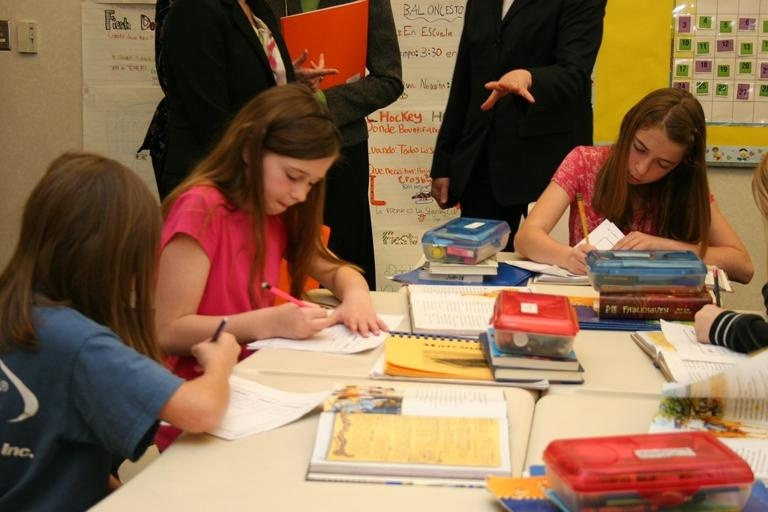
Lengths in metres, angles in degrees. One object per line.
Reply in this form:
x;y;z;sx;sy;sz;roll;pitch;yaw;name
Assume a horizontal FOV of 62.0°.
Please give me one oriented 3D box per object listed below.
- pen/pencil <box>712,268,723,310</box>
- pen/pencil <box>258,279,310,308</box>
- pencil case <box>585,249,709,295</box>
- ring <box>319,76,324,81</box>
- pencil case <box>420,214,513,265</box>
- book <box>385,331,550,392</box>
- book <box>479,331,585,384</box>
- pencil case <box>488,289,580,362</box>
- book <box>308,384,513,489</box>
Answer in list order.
0.925;0.089;1.773;0.015;0.016;0.147;-33;27;44;pen/pencil
-0.281;0.106;1.799;0.021;0.017;0.148;42;-2;36;pen/pencil
0.679;0.021;1.711;0.310;0.101;0.231;4;27;-1;pencil case
-0.225;-0.653;2.340;0.018;0.007;0.025;-3;5;-7;ring
0.273;-0.060;2.070;0.265;0.138;0.294;2;6;9;pencil case
0.188;0.235;1.395;0.398;0.054;0.459;1;10;0;book
0.318;0.220;1.375;0.267;0.048;0.242;1;15;-3;book
0.326;0.124;1.404;0.152;0.078;0.141;6;18;6;pencil case
0.053;0.331;1.208;0.364;0.069;0.225;1;18;2;book
